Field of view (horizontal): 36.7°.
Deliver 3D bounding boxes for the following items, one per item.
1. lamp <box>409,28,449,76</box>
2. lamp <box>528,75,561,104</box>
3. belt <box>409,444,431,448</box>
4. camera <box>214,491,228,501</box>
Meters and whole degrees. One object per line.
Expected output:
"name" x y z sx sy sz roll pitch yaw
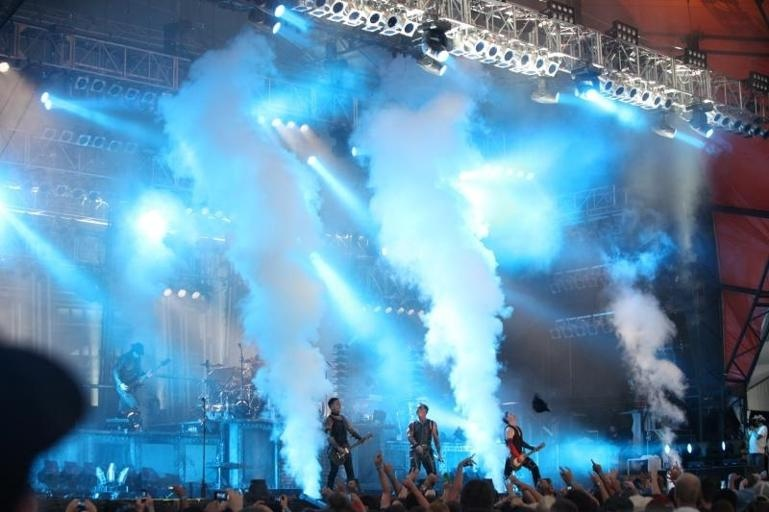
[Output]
"lamp" 1.080 -4.541 25.829 0.745 0.934 0.361 8 14 17
"lamp" 3.796 -3.861 27.790 0.664 0.607 0.585 -5 -17 -22
"belt" 0.795 4.126 25.254 0.411 0.111 0.202 -1 -20 -1
"camera" -2.797 4.077 19.842 0.193 0.114 0.184 0 -5 6
